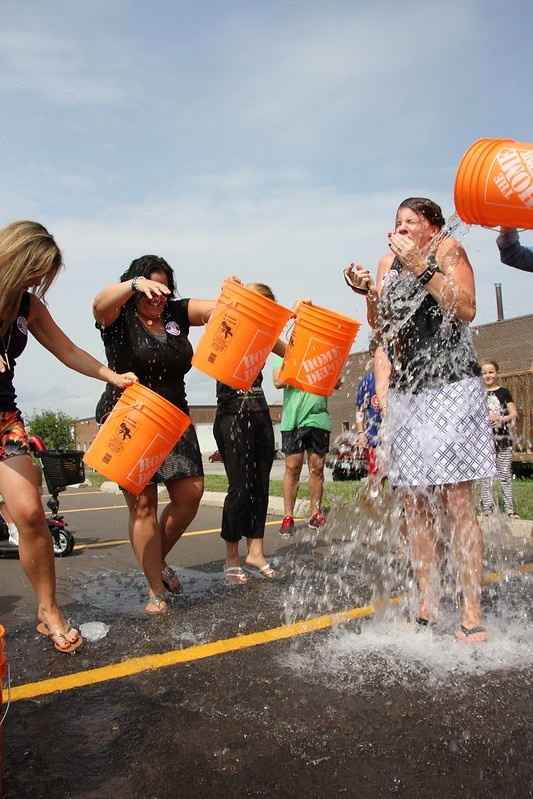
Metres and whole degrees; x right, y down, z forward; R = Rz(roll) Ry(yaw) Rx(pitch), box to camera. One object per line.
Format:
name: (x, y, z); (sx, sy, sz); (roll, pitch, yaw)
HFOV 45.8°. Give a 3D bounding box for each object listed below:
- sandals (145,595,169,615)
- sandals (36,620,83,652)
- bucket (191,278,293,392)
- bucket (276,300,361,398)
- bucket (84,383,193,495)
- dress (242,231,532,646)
sandals: (-0.506, 0.955, 2.928); (0.096, 0.078, 0.189); (1, 6, -9)
sandals: (-0.781, 0.888, 2.396); (0.166, 0.039, 0.088); (7, 9, 42)
bucket: (-0.153, -0.300, 2.998); (0.398, 0.414, 0.406); (28, 1, -1)
bucket: (0.294, -0.215, 3.182); (0.336, 0.373, 0.329); (18, 6, -2)
bucket: (-0.601, 0.192, 2.798); (0.358, 0.382, 0.337); (26, -16, 8)
dress: (0.650, 0.090, 2.586); (0.474, 1.689, 0.810); (0, 6, -21)
